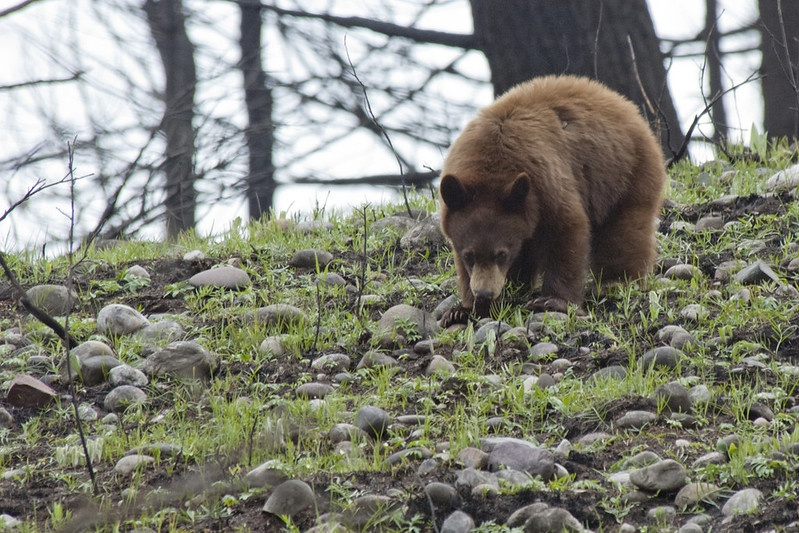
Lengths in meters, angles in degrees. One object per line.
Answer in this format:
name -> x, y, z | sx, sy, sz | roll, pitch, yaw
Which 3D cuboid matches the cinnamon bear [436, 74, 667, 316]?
cinnamon bear -> 1.463, -0.726, 12.383 | 1.883, 2.184, 3.683 | 1, 1, 3
